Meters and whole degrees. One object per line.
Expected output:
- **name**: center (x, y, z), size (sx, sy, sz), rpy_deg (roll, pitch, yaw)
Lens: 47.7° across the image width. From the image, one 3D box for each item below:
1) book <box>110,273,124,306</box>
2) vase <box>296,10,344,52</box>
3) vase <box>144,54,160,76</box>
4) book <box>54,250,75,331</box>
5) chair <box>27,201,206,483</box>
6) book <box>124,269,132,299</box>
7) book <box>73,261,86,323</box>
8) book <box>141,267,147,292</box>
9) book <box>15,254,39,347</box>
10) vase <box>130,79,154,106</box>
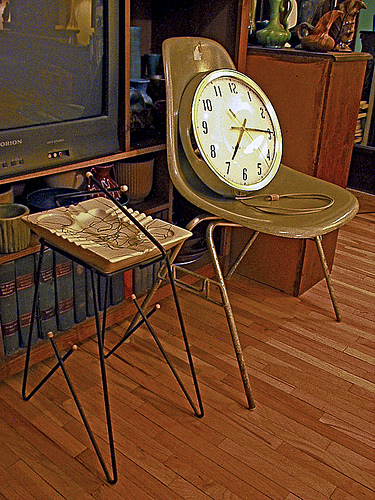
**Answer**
- **book**: center (-0.262, 0.139, 1.536), size (0.070, 0.099, 0.082), rpy_deg (-5, -16, -8)
- **vase**: center (0.496, -0.841, 1.627), size (0.157, 0.154, 0.110), rpy_deg (10, 28, 18)
- **vase**: center (-0.128, -0.695, 1.592), size (0.050, 0.076, 0.121), rpy_deg (-3, 27, -14)
- **book**: center (-0.380, 0.130, 1.322), size (0.020, 0.298, 0.069), rpy_deg (26, 34, 35)
- **chair**: center (-0.212, 0.273, 1.159), size (0.419, 0.659, 0.514), rpy_deg (-20, 37, -31)
- **book**: center (-0.223, 0.131, 1.557), size (0.013, 0.128, 0.043), rpy_deg (20, 31, 27)
- **book**: center (-0.349, 0.138, 1.377), size (0.018, 0.240, 0.050), rpy_deg (26, 34, 35)
- **book**: center (-0.167, 0.114, 1.613), size (0.010, 0.106, 0.034), rpy_deg (19, 31, 26)
- **book**: center (-0.461, 0.153, 1.217), size (0.071, 0.302, 0.017), rpy_deg (-19, 35, -37)
- **vase**: center (-0.170, -0.572, 1.524), size (0.086, 0.078, 0.082), rpy_deg (-19, 41, -30)
